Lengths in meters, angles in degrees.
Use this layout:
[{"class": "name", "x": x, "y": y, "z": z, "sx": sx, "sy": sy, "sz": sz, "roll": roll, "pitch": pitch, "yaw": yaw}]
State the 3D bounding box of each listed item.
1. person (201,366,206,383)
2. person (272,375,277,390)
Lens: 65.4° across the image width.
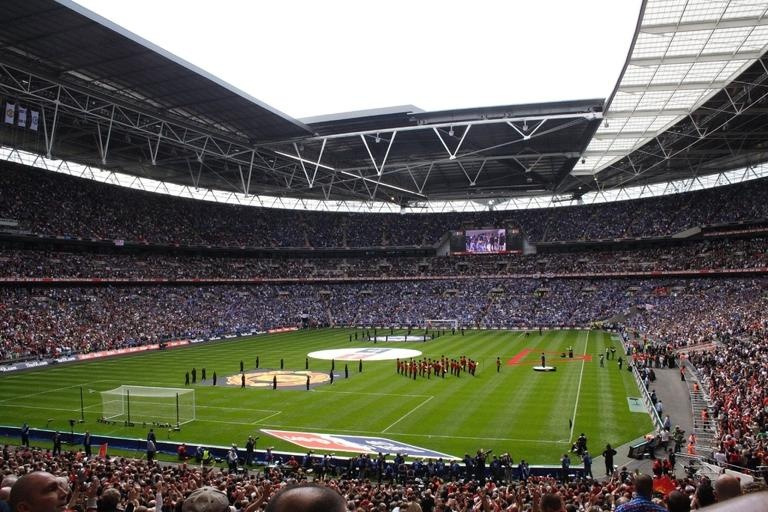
[{"class": "person", "x": -16.037, "y": 10.507, "z": 53.059, "sx": 0.407, "sy": 1.139, "sz": 1.243, "roll": -2, "pitch": 2, "yaw": -18}, {"class": "person", "x": -9.095, "y": 10.792, "z": 50.411, "sx": 0.471, "sy": 1.123, "sz": 0.412, "roll": 1, "pitch": 32, "yaw": -21}]
